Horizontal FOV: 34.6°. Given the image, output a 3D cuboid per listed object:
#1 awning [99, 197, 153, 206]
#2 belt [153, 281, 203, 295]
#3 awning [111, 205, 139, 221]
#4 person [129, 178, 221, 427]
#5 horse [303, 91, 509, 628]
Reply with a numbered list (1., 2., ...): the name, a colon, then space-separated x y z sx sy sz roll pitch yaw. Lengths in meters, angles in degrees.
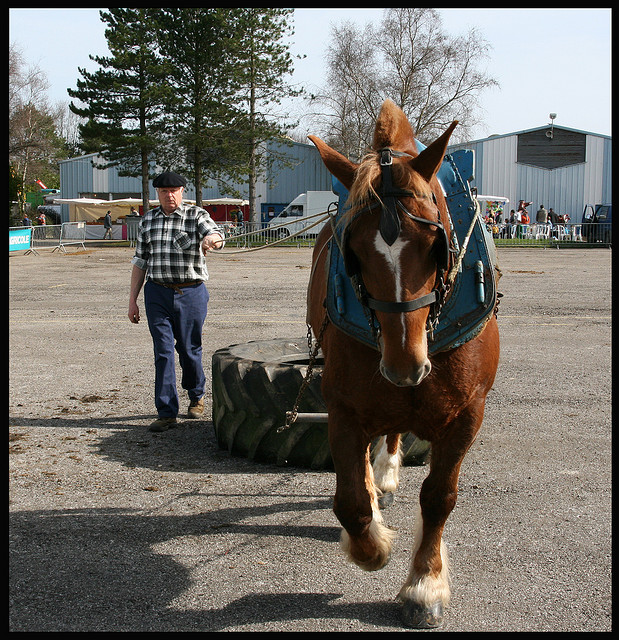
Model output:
1. awning: -9.755 -6.196 51.978 1.613 0.306 1.525 -2 2 -35
2. belt: -0.973 -0.234 7.276 0.289 0.087 0.083 -3 13 -11
3. awning: -10.347 -5.681 54.726 1.329 1.013 1.273 -1 9 2
4. person: -0.994 -0.143 7.374 0.637 1.806 0.714 -6 14 -20
5. horse: 0.525 0.081 5.028 1.058 2.373 1.959 -1 13 0
